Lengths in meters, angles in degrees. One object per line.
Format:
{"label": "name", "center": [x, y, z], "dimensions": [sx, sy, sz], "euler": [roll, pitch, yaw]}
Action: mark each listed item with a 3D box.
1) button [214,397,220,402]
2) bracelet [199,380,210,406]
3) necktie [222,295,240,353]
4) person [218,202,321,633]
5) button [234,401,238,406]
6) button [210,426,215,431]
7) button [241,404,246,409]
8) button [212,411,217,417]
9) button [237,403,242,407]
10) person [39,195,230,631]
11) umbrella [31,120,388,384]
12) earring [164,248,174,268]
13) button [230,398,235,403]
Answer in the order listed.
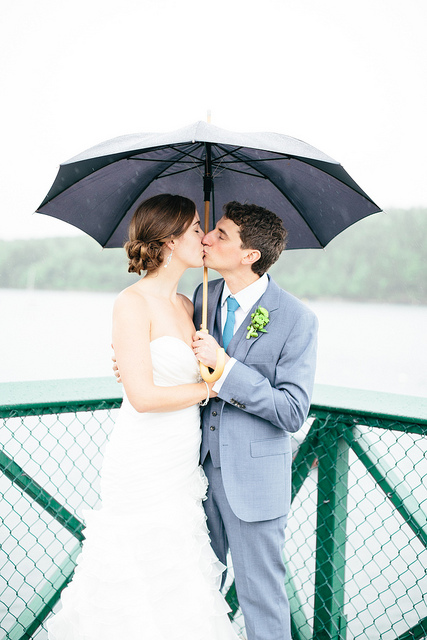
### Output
{"label": "button", "center": [0.011, 0.292, 2.335], "dimensions": [0.023, 0.020, 0.005], "euler": [0, 19, 13]}
{"label": "bracelet", "center": [-0.042, 0.277, 2.307], "dimensions": [0.023, 0.081, 0.070], "euler": [1, 11, 21]}
{"label": "necktie", "center": [0.076, 0.006, 2.446], "dimensions": [0.065, 0.192, 0.025], "euler": [7, -15, 20]}
{"label": "person", "center": [0.198, 0.349, 2.388], "dimensions": [0.360, 1.523, 0.632], "euler": [0, 17, 0]}
{"label": "button", "center": [0.080, 0.295, 2.232], "dimensions": [0.009, 0.011, 0.013], "euler": [-2, 0, 42]}
{"label": "button", "center": [-0.004, 0.406, 2.372], "dimensions": [0.025, 0.022, 0.006], "euler": [-1, 0, 2]}
{"label": "button", "center": [0.107, 0.305, 2.229], "dimensions": [0.018, 0.021, 0.008], "euler": [7, 18, 22]}
{"label": "button", "center": [0.004, 0.350, 2.368], "dimensions": [0.017, 0.015, 0.004], "euler": [0, 0, 21]}
{"label": "button", "center": [0.092, 0.299, 2.230], "dimensions": [0.010, 0.009, 0.009], "euler": [17, 0, 0]}
{"label": "person", "center": [-0.210, 0.366, 2.290], "dimensions": [0.603, 1.576, 0.710], "euler": [5, 17, 15]}
{"label": "umbrella", "center": [-0.013, -0.312, 2.404], "dimensions": [1.110, 0.846, 1.127], "euler": [-8, -4, 23]}
{"label": "earring", "center": [-0.166, -0.223, 2.355], "dimensions": [0.011, 0.058, 0.009], "euler": [21, 19, -25]}
{"label": "button", "center": [0.067, 0.284, 2.228], "dimensions": [0.013, 0.015, 0.006], "euler": [0, 8, 9]}
